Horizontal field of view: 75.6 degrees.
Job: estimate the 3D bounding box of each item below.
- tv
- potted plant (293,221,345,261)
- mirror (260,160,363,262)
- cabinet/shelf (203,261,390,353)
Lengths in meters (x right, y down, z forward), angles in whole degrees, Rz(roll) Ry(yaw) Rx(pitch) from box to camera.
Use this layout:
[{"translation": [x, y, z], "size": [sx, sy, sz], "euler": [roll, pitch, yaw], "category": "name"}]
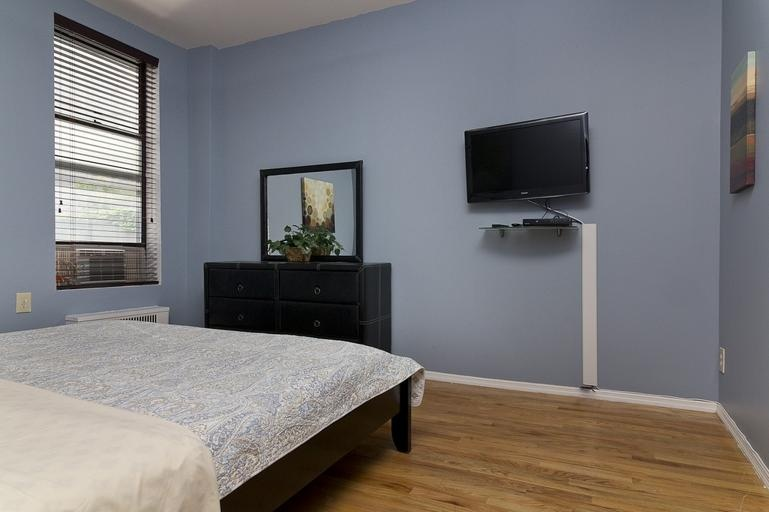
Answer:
[{"translation": [1.087, -0.752, 3.826], "size": [0.972, 0.724, 0.087], "euler": [8, 12, 19], "category": "tv"}, {"translation": [-0.617, -0.126, 4.422], "size": [0.476, 0.261, 0.432], "euler": [-5, 12, -43], "category": "potted plant"}, {"translation": [-0.625, -0.409, 4.484], "size": [0.971, 0.797, 0.045], "euler": [0, 0, 19], "category": "mirror"}, {"translation": [-0.619, 0.389, 3.868], "size": [0.783, 0.644, 0.263], "euler": [0, -2, 20], "category": "cabinet/shelf"}]
